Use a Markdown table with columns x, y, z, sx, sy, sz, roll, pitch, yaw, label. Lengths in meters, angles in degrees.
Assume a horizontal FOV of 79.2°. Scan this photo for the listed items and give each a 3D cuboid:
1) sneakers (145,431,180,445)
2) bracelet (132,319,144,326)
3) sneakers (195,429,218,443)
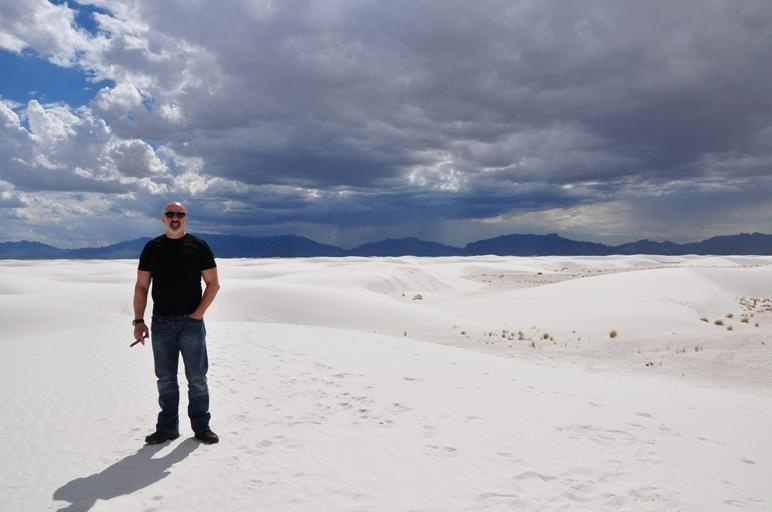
| x | y | z | sx | sy | sz | roll | pitch | yaw | label |
| --- | --- | --- | --- | --- | --- | --- | --- | --- | --- |
| -4.055 | 3.288 | 8.342 | 0.563 | 0.218 | 0.205 | 11 | -12 | -29 | sneakers |
| -4.508 | 1.207 | 8.424 | 0.208 | 0.126 | 0.190 | -4 | -2 | -38 | bracelet |
| -3.230 | 3.298 | 8.409 | 0.423 | 0.160 | 0.185 | -2 | -5 | 21 | sneakers |
